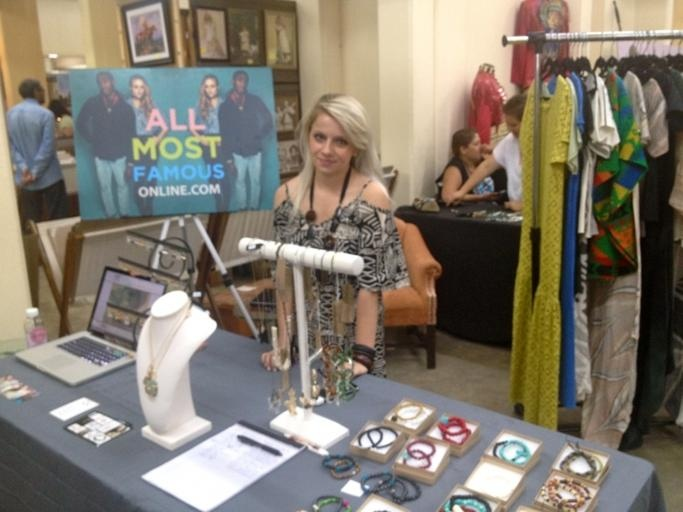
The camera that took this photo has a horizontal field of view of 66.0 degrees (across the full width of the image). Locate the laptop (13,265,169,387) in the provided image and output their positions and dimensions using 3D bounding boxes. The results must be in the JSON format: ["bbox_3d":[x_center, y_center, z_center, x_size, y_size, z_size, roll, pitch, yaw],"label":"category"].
[{"bbox_3d":[-0.982,0.305,2.176,0.509,0.332,0.505,12,18,33],"label":"laptop"}]

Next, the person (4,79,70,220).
[{"bbox_3d":[-2.117,-0.727,3.625,0.163,0.936,0.349,2,19,19],"label":"person"}]

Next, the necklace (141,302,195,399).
[{"bbox_3d":[-0.566,0.280,1.693,0.201,0.286,0.157,-12,19,-24],"label":"necklace"}]

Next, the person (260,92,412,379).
[{"bbox_3d":[-0.045,0.046,2.383,0.631,1.553,0.419,2,39,3],"label":"person"}]

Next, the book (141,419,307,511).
[{"bbox_3d":[-0.345,0.613,1.564,0.298,0.041,0.369,10,22,37],"label":"book"}]

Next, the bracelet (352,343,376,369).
[{"bbox_3d":[0.087,0.373,1.976,0.084,0.066,0.087,5,-2,-9],"label":"bracelet"}]

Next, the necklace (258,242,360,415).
[{"bbox_3d":[-0.081,0.235,1.690,0.342,0.591,0.341,-2,18,7],"label":"necklace"}]
